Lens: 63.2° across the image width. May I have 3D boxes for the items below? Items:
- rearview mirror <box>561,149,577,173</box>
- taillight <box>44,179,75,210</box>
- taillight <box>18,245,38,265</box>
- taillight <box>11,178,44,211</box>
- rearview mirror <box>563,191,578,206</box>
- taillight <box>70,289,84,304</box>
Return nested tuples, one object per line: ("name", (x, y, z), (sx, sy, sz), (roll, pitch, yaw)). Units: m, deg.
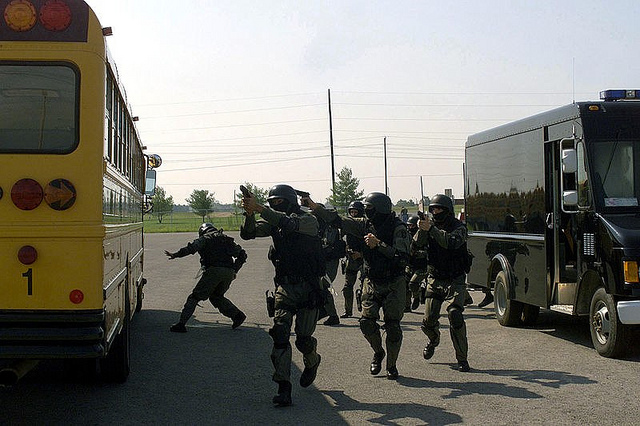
("rearview mirror", (4.186, -0.870, 8.713), (0.237, 0.378, 0.151), (-1, 1, 8))
("taillight", (-2.764, -0.195, 5.498), (0.294, 0.309, 0.070), (-15, -4, -7))
("taillight", (-3.060, 0.439, 5.446), (0.186, 0.179, 0.008), (-1, 0, -6))
("taillight", (-3.066, -0.188, 5.447), (0.313, 0.331, 0.072), (3, -5, -14))
("rearview mirror", (4.190, -0.226, 8.847), (0.339, 0.325, 0.192), (0, -1, 2))
("taillight", (-2.566, 0.888, 5.492), (0.135, 0.143, 0.032), (7, -6, -10))
